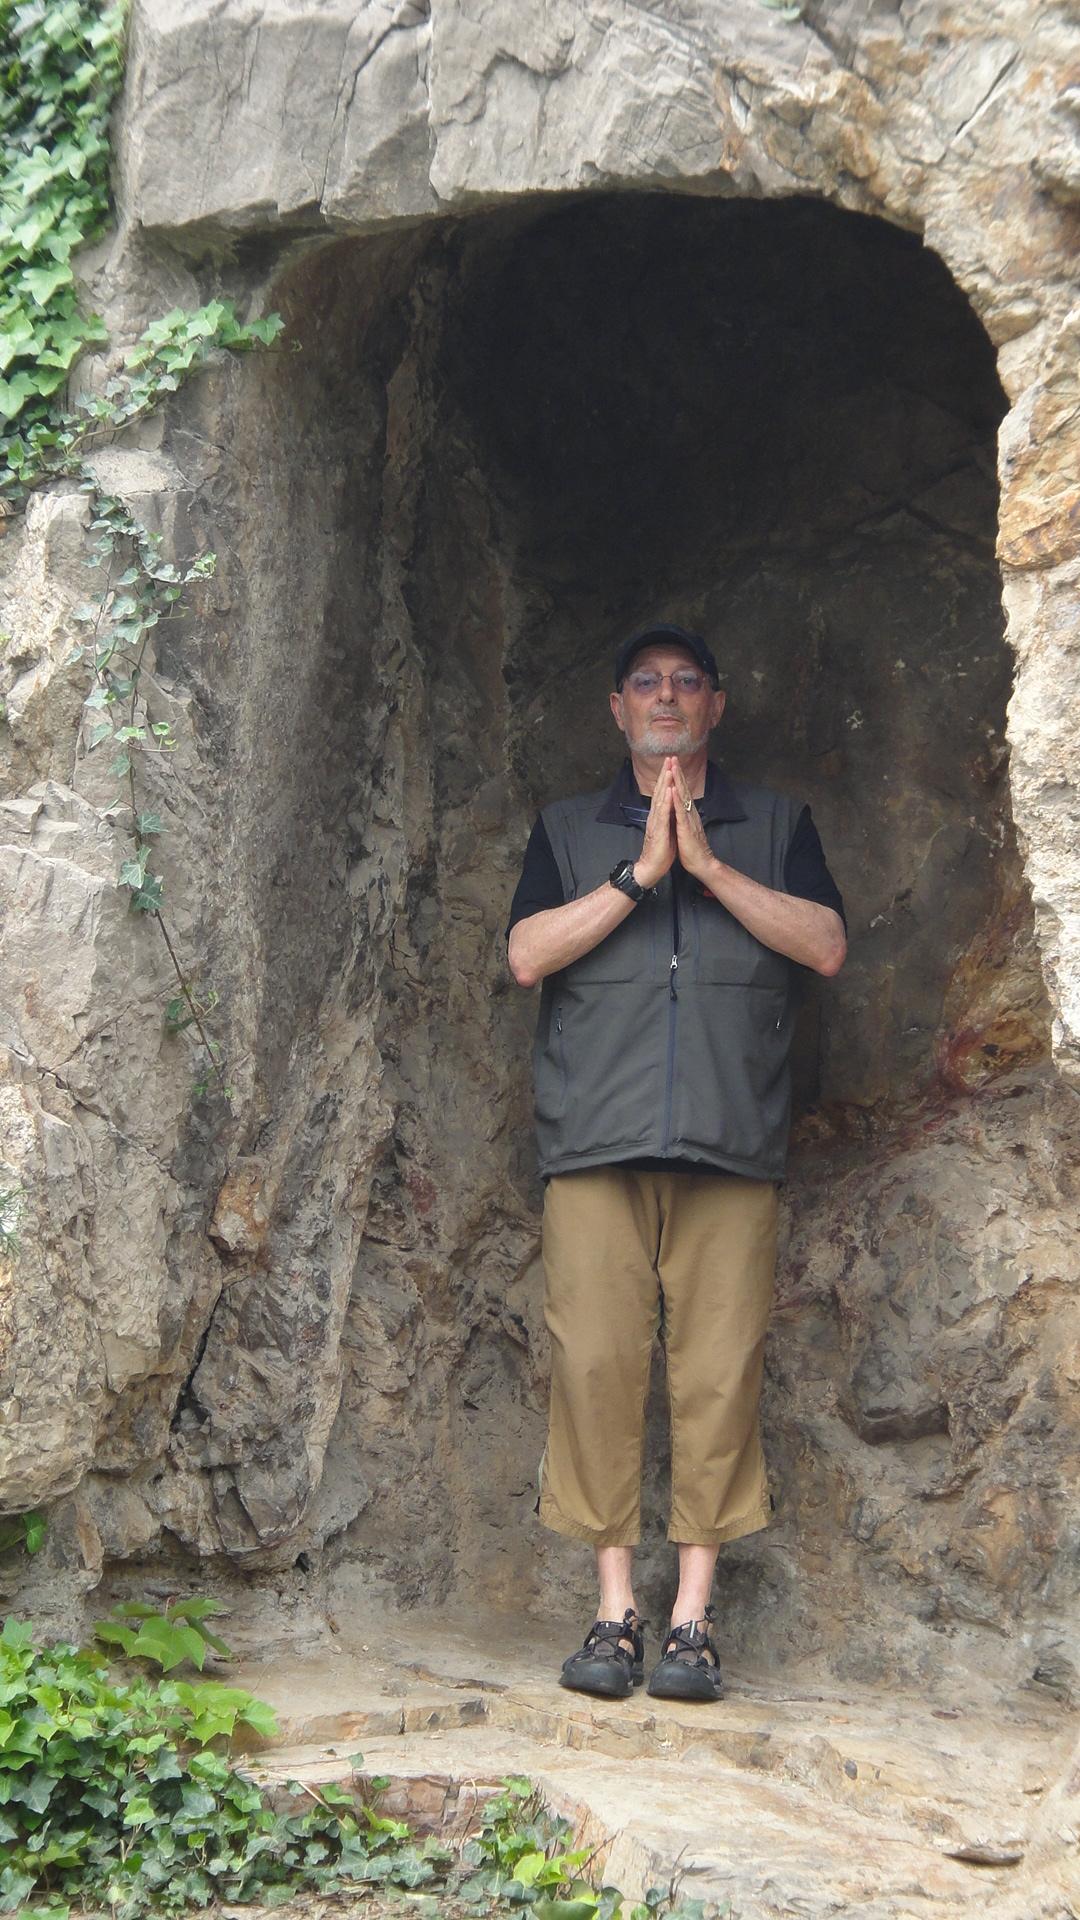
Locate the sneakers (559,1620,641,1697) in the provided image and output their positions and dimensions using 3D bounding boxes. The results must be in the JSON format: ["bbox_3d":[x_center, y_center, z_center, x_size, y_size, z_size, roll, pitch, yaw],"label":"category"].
[{"bbox_3d":[0.103,1.097,3.736,0.134,0.113,0.149,1,2,-10],"label":"sneakers"}]

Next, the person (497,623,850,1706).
[{"bbox_3d":[0.237,0.295,3.965,0.559,1.710,0.621,1,2,-10],"label":"person"}]

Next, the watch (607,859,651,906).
[{"bbox_3d":[0.136,-0.132,3.917,0.070,0.051,0.075,48,4,-11],"label":"watch"}]

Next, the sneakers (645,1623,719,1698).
[{"bbox_3d":[0.225,1.106,3.776,0.115,0.113,0.249,-1,-15,2],"label":"sneakers"}]
